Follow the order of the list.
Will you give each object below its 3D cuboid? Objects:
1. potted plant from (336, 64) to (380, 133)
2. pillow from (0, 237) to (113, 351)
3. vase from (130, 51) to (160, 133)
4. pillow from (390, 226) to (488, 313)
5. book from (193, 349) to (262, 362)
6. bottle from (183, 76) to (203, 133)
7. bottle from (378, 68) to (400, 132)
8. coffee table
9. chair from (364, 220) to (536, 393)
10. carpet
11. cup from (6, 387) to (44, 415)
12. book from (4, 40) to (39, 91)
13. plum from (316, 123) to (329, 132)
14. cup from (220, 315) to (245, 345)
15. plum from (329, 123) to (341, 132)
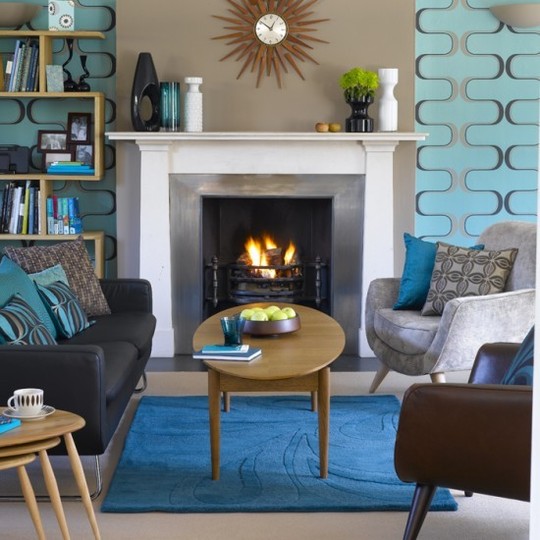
[{"bbox_3d":[0.579,-1.077,3.742,0.245,0.395,0.208,1,8,10],"label":"potted plant"},{"bbox_3d":[-1.197,0.118,3.108,0.152,0.489,0.505,-25,-13,36],"label":"pillow"},{"bbox_3d":[-0.800,-1.141,3.778,0.121,0.497,0.249,5,9,33],"label":"vase"},{"bbox_3d":[0.872,0.027,3.200,0.126,0.405,0.408,14,-6,-38],"label":"pillow"},{"bbox_3d":[-0.157,0.317,2.137,0.250,0.025,0.105,0,7,-5],"label":"book"},{"bbox_3d":[-0.509,-1.057,3.767,0.113,0.341,0.093,0,8,-2],"label":"bottle"},{"bbox_3d":[0.765,-1.094,3.769,0.115,0.403,0.087,-2,8,-16],"label":"bottle"},{"bbox_3d":[0.009,0.577,2.410,0.582,0.458,0.933,0,-5,1],"label":"coffee table"},{"bbox_3d":[0.841,0.150,2.991,0.878,1.007,0.834,2,0,-21],"label":"chair"},{"bbox_3d":[0.036,0.777,2.657,1.265,0.057,1.457,0,3,-2],"label":"carpet"},{"bbox_3d":[-0.676,0.353,1.590,0.091,0.070,0.072,1,4,-18],"label":"cup"},{"bbox_3d":[-1.656,-1.339,3.829,0.237,0.351,0.126,-1,8,-12],"label":"book"},{"bbox_3d":[0.344,-0.921,3.796,0.069,0.052,0.089,2,15,0],"label":"plum"},{"bbox_3d":[-0.142,0.235,2.251,0.098,0.117,0.108,2,0,0],"label":"cup"},{"bbox_3d":[0.435,-0.926,3.820,0.064,0.049,0.085,5,10,4],"label":"plum"}]
